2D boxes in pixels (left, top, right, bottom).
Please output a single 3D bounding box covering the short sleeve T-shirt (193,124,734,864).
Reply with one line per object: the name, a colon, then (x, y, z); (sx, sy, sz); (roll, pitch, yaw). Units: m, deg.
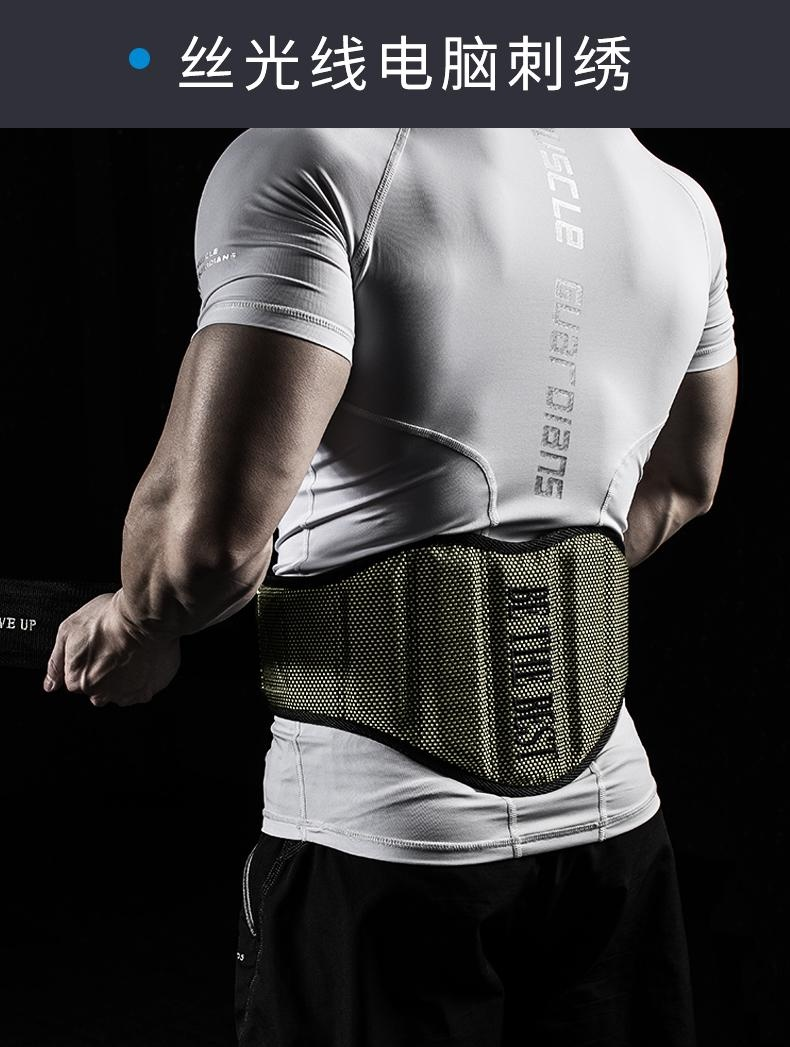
short sleeve T-shirt: (0.115, -0.033, 1.068); (0.568, 0.624, 0.449); (-13, 38, -25)
